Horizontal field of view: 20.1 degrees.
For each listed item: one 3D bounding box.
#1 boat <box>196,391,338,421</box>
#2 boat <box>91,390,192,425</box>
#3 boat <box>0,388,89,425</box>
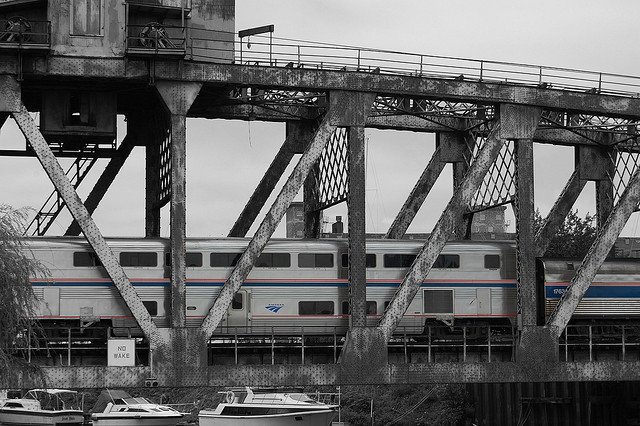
[{"bbox_3d":[-2.370,9.667,89.491,7.431,1.906,2.339,-1,-2,-2],"label":"boat"},{"bbox_3d":[-9.162,9.956,89.770,3.739,1.640,2.029,0,-1,-1],"label":"boat"},{"bbox_3d":[-14.270,10.179,90.813,4.097,1.810,2.539,-1,-4,12],"label":"boat"}]
